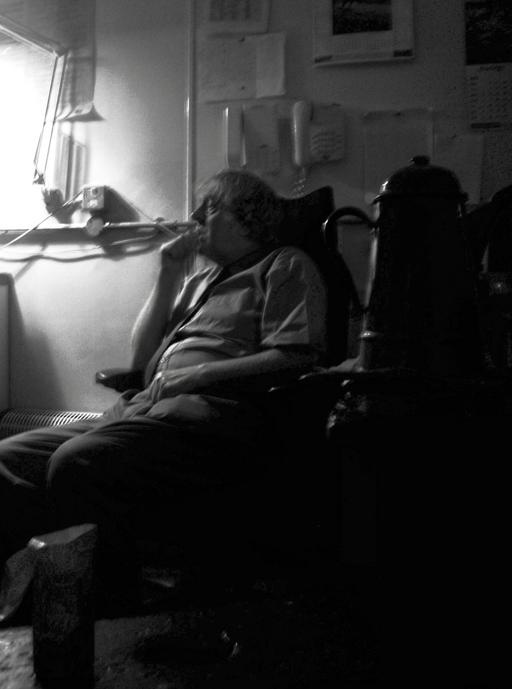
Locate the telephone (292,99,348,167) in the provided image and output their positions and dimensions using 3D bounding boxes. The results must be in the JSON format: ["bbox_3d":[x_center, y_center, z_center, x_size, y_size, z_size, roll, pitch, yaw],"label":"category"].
[{"bbox_3d":[0.072,-0.202,0.612,0.057,0.058,0.018,-2,7,28],"label":"telephone"}]

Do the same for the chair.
[{"bbox_3d":[-0.038,-0.044,0.717,0.245,0.298,0.216,-1,8,-10],"label":"chair"}]
